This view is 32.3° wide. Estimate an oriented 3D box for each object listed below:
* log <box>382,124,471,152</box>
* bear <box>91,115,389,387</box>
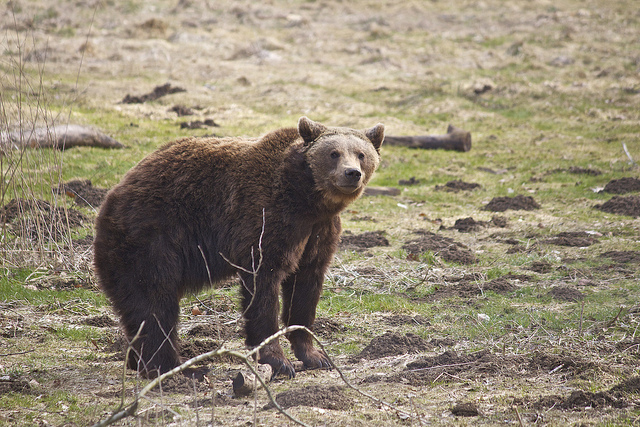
[{"bbox_3d":[3.201,-2.235,33.905,3.187,0.763,0.600,-1,-16,40],"label":"log"},{"bbox_3d":[-1.583,0.903,25.524,7.773,4.998,3.481,-3,-8,32],"label":"bear"}]
